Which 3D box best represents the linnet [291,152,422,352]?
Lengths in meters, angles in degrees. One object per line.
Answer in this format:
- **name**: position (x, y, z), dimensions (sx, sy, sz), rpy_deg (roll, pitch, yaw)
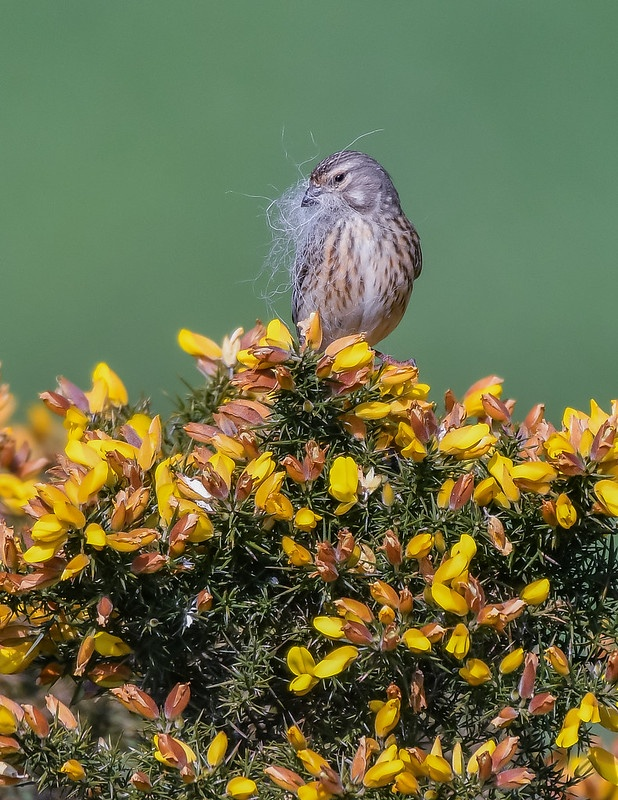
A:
- **linnet**: position (0.077, -0.298, 2.309), dimensions (0.327, 0.436, 0.293), rpy_deg (4, 14, 10)
